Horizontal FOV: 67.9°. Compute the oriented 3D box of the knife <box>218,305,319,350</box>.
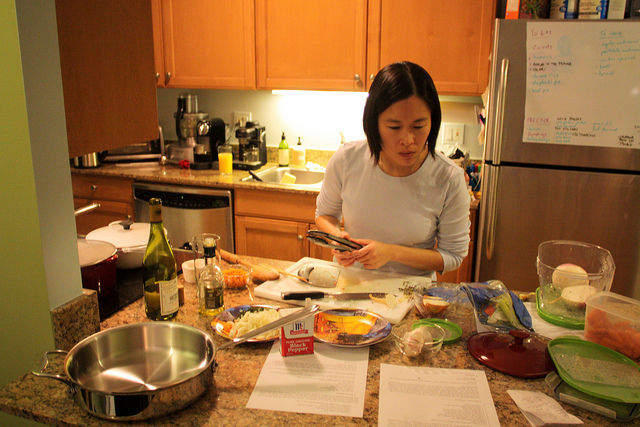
[{"bbox_3d":[-0.169,0.381,1.556,0.293,0.032,0.031,-25,44,-22],"label":"knife"}]

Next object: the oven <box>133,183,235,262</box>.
[{"bbox_3d":[-0.766,0.031,2.820,0.378,0.641,0.398,2,14,10],"label":"oven"}]

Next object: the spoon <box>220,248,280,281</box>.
[{"bbox_3d":[-0.283,0.225,1.985,0.104,0.043,0.383,-3,15,-35],"label":"spoon"}]

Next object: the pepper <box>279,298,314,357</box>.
[{"bbox_3d":[-0.077,0.379,1.541,0.144,0.199,0.105,-2,13,-9],"label":"pepper"}]

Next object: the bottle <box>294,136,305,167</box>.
[{"bbox_3d":[-0.170,-0.503,3.854,0.083,0.229,0.144,-1,14,-2],"label":"bottle"}]

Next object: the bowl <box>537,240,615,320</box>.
[{"bbox_3d":[0.954,0.268,1.809,0.295,0.246,0.297,-5,12,1],"label":"bowl"}]

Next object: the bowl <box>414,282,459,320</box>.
[{"bbox_3d":[0.417,0.296,1.721,0.121,0.087,0.126,-4,16,1],"label":"bowl"}]
